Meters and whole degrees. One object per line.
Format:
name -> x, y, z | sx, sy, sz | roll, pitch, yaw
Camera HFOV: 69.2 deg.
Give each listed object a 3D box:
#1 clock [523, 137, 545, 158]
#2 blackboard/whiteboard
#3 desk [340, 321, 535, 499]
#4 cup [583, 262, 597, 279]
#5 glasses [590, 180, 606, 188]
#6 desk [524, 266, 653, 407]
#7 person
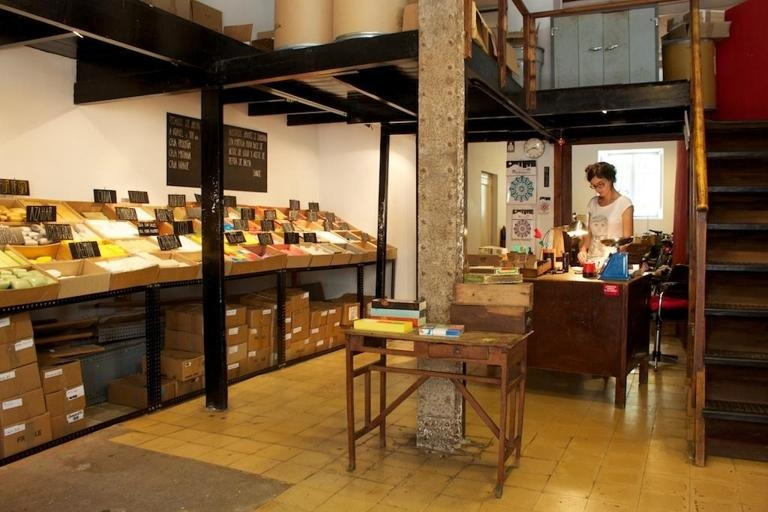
clock -> 2.651, -1.903, 9.740 | 0.360, 0.309, 0.035 | -2, -5, 21
blackboard/whiteboard -> -2.399, -1.479, 8.232 | 0.327, 1.150, 1.827 | 6, 12, 26
desk -> 0.466, 1.249, 4.881 | 1.483, 1.082, 0.678 | -1, -3, 29
cup -> 2.305, 0.160, 6.220 | 0.185, 0.162, 0.170 | -2, 4, 0
glasses -> 2.725, -0.903, 7.005 | 0.113, 0.031, 0.107 | 9, -10, -38
desk -> 2.360, 0.922, 6.516 | 1.320, 1.059, 1.008 | 0, -6, 38
person -> 2.824, -0.525, 7.046 | 0.600, 1.316, 1.152 | 4, 11, 19
